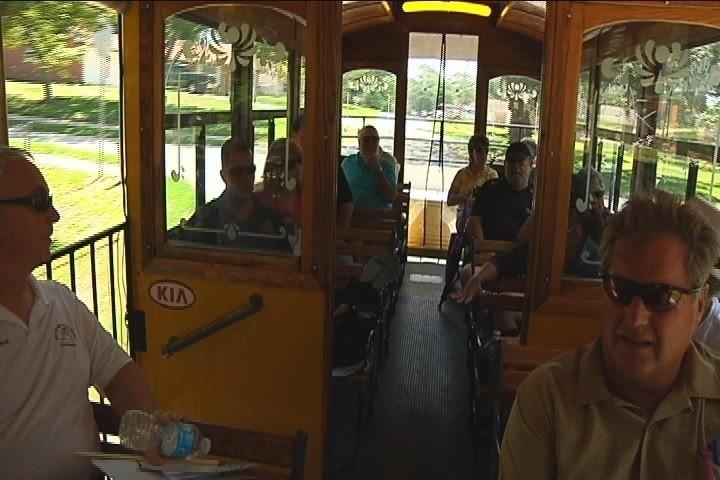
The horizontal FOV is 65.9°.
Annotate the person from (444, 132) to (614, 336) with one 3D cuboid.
[{"bbox_3d":[1.411,-0.008,4.177,0.884,1.219,0.642,0,-5,20],"label":"person"}]

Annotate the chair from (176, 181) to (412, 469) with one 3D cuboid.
[{"bbox_3d":[-0.342,0.607,4.582,1.198,1.060,2.129,1,14,6],"label":"chair"}]

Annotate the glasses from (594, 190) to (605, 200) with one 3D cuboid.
[{"bbox_3d":[1.574,-0.307,3.652,0.063,0.065,0.039,1,48,5],"label":"glasses"}]
